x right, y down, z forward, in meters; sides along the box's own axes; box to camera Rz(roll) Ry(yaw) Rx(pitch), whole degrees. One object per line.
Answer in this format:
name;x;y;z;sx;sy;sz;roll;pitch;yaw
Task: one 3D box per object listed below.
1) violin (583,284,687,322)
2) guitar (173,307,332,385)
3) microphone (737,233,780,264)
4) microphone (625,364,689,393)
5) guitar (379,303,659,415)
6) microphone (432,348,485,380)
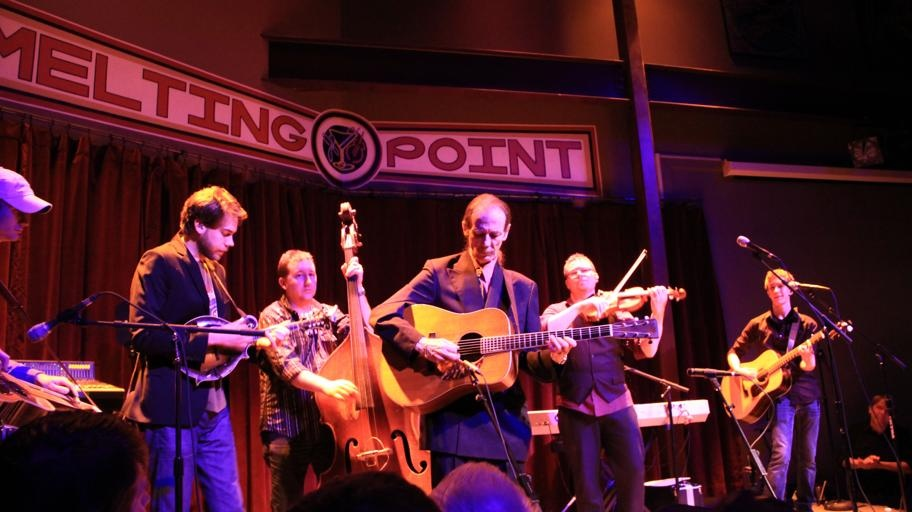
violin;2.032;0.548;8.842;1.212;0.498;0.202;-14;-34;18
guitar;-2.154;0.923;8.072;1.577;0.648;0.194;-9;-2;-23
microphone;4.750;-0.128;11.923;0.820;0.208;0.234;17;-40;30
microphone;2.886;1.781;11.031;1.473;0.199;0.305;19;-57;-34
guitar;0.430;1.040;7.811;2.396;1.125;0.444;1;-14;-6
microphone;0.028;1.119;7.612;0.463;0.203;0.157;-1;-15;2
